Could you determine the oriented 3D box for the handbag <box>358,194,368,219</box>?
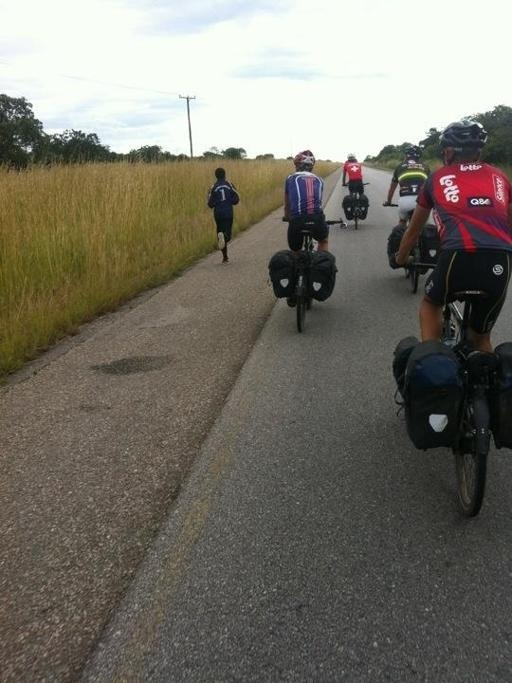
[{"bbox_3d":[3.196,-4.095,15.287,0.342,0.737,0.231,9,-1,-7],"label":"handbag"}]

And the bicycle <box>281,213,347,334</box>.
[{"bbox_3d":[0.732,-0.834,6.525,0.543,0.975,1.617,1,40,7],"label":"bicycle"}]

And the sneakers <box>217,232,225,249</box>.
[{"bbox_3d":[-0.723,-2.047,10.398,0.098,0.365,0.147,-1,35,3],"label":"sneakers"}]

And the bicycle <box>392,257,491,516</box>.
[{"bbox_3d":[0.914,0.215,2.744,0.402,0.837,1.174,-2,25,7],"label":"bicycle"}]

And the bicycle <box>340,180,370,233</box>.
[{"bbox_3d":[3.020,-4.286,15.574,0.534,1.002,1.695,0,42,6],"label":"bicycle"}]

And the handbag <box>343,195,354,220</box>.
[{"bbox_3d":[2.822,-4.053,15.349,0.350,0.779,0.752,0,12,11],"label":"handbag"}]

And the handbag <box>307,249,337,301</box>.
[{"bbox_3d":[0.799,-0.795,6.391,0.352,0.775,0.512,0,21,-2],"label":"handbag"}]
